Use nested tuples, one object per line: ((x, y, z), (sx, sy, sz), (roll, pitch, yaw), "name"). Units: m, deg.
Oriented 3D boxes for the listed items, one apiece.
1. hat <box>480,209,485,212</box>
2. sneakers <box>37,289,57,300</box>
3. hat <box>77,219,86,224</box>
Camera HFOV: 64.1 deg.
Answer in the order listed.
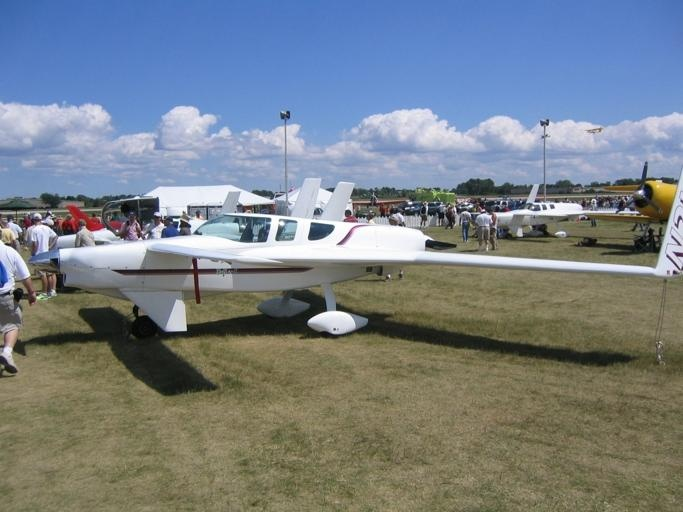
((5.338, -1.746, 20.788), (0.173, 0.065, 0.211), (2, 2, -12), "hat")
((-6.940, 0.903, 12.804), (0.500, 0.211, 0.176), (2, 13, -15), "sneakers")
((-6.087, -0.803, 12.708), (0.144, 0.171, 0.183), (9, 8, -11), "hat")
